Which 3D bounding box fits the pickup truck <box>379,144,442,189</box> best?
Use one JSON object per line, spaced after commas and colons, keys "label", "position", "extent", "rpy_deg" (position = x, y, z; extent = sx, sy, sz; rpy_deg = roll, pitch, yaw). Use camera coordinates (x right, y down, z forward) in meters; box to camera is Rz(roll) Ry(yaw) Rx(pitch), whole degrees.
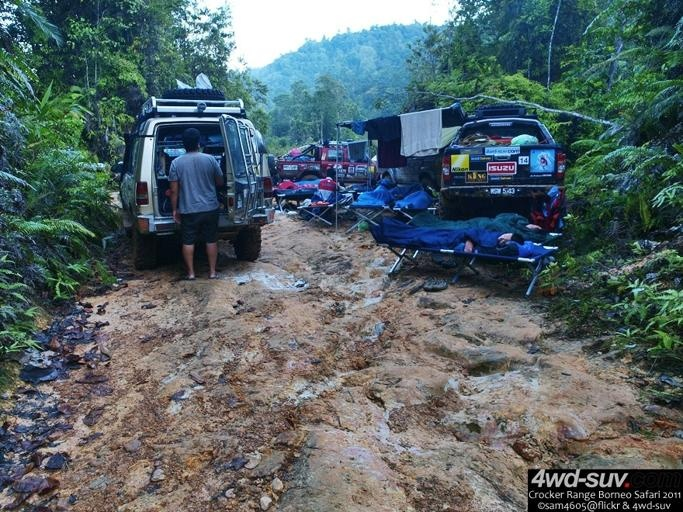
{"label": "pickup truck", "position": [1.840, -2.075, 11.703], "extent": [0.975, 0.871, 1.925], "rpy_deg": [-13, 13, -41]}

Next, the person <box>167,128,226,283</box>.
{"label": "person", "position": [-1.948, -0.689, 6.707], "extent": [0.708, 2.019, 0.628], "rpy_deg": [-10, 20, -23]}

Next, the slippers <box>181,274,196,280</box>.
{"label": "slippers", "position": [-2.127, 0.303, 6.782], "extent": [0.088, 0.076, 0.231], "rpy_deg": [-4, 10, -33]}

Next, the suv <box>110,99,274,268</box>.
{"label": "suv", "position": [-2.393, -1.433, 7.962], "extent": [1.989, 1.945, 3.377], "rpy_deg": [-1, 16, -16]}

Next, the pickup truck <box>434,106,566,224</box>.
{"label": "pickup truck", "position": [2.519, -1.397, 7.873], "extent": [1.792, 1.649, 2.288], "rpy_deg": [2, 17, 12]}

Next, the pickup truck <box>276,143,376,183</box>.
{"label": "pickup truck", "position": [-0.450, -2.992, 15.537], "extent": [3.136, 1.327, 1.611], "rpy_deg": [-3, 13, -5]}
